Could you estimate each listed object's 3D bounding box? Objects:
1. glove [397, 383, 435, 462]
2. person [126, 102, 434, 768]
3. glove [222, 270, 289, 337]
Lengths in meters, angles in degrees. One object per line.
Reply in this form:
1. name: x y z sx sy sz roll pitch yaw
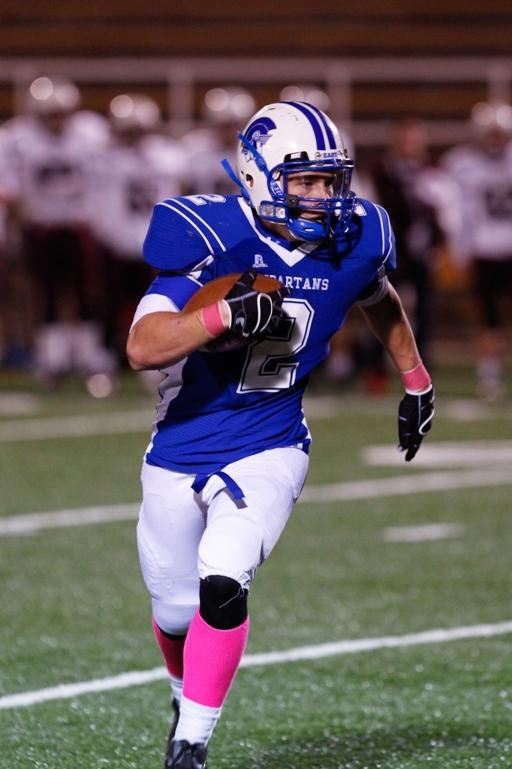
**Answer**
1. glove: 0.347 0.084 1.785 0.098 0.141 0.061 4 -2 42
2. person: 0.009 0.055 1.491 0.364 1.131 0.700 1 4 27
3. glove: -0.001 -0.117 1.226 0.087 0.102 0.138 0 3 5
